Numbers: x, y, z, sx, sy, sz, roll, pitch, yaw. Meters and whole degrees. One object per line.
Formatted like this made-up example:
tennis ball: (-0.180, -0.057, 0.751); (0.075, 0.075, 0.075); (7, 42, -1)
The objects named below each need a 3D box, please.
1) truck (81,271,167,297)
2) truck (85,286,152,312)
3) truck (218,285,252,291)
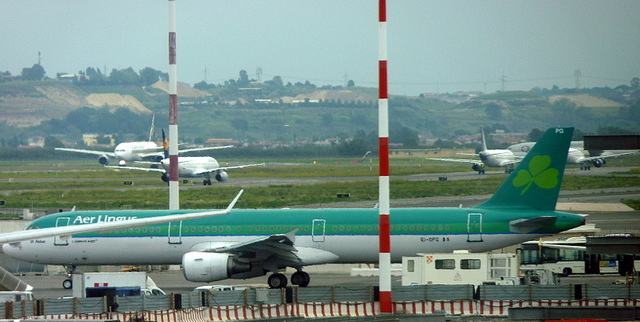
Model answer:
truck: (-36.501, 22.394, 216.564); (11.817, 4.147, 5.770); (0, -5, -3)
truck: (-36.645, 23.459, 213.069); (10.976, 1.747, 1.465); (-2, -6, -5)
truck: (-15.818, 23.100, 216.042); (5.030, 0.947, 6.880); (-4, -5, 16)
